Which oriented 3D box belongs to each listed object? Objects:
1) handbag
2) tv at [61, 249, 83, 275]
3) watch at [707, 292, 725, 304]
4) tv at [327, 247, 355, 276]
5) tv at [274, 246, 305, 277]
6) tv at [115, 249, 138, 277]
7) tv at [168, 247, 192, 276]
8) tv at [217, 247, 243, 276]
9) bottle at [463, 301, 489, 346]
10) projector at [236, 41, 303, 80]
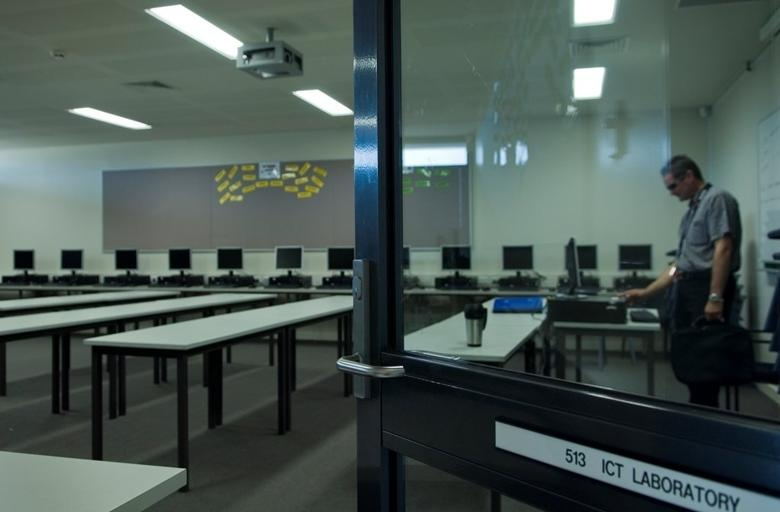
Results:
[{"bbox_3d":[0.764,0.221,1.547,0.161,0.154,0.067,-2,3,12],"label":"handbag"},{"bbox_3d":[-3.879,0.056,8.072,0.320,0.380,0.073,1,3,3],"label":"tv"},{"bbox_3d":[0.761,0.099,1.543,0.033,0.021,0.031,1,2,40],"label":"watch"},{"bbox_3d":[-0.506,0.040,6.874,0.322,0.317,0.103,0,-4,3],"label":"tv"},{"bbox_3d":[-1.112,0.047,7.369,0.346,0.341,0.132,0,-6,4],"label":"tv"},{"bbox_3d":[-3.136,0.063,7.875,0.334,0.331,0.108,0,-5,8],"label":"tv"},{"bbox_3d":[-2.431,0.050,7.674,0.334,0.387,0.136,1,-4,-1],"label":"tv"},{"bbox_3d":[-1.817,0.047,7.511,0.341,0.336,0.121,0,-3,5],"label":"tv"},{"bbox_3d":[0.235,0.186,1.792,0.063,0.116,0.028,-3,10,22],"label":"bottle"},{"bbox_3d":[-0.830,-1.364,4.604,0.365,0.214,0.311,-4,9,13],"label":"projector"}]
